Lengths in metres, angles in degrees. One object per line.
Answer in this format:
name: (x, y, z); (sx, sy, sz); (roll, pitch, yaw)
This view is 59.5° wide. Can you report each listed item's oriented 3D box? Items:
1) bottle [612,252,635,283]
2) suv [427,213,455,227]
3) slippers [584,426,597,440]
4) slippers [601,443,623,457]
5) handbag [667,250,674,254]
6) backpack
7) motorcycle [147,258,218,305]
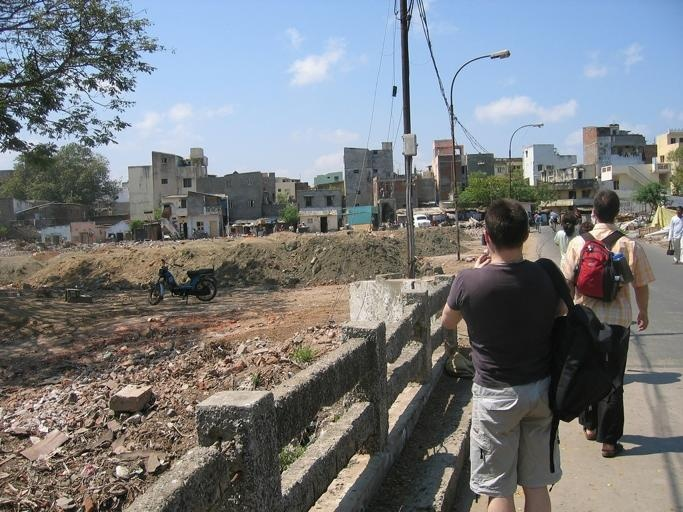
bottle: (2.710, 0.118, 5.720); (0.180, 0.276, 0.185); (-6, 7, 1)
suv: (9.317, -3.353, 55.514); (1.859, 1.352, 2.661); (-2, -2, 4)
slippers: (2.612, 1.856, 6.232); (0.081, 0.107, 0.112); (-3, -6, -3)
slippers: (2.662, 1.895, 5.845); (0.236, 0.108, 0.093); (-16, 11, -36)
handbag: (10.047, -0.125, 18.141); (0.139, 0.117, 0.148); (-1, -3, 0)
backpack: (2.535, 0.096, 5.846); (0.454, 0.628, 0.422); (-4, 8, 14)
motorcycle: (-5.207, 0.845, 19.324); (2.211, 1.593, 1.278); (1, -19, -5)
